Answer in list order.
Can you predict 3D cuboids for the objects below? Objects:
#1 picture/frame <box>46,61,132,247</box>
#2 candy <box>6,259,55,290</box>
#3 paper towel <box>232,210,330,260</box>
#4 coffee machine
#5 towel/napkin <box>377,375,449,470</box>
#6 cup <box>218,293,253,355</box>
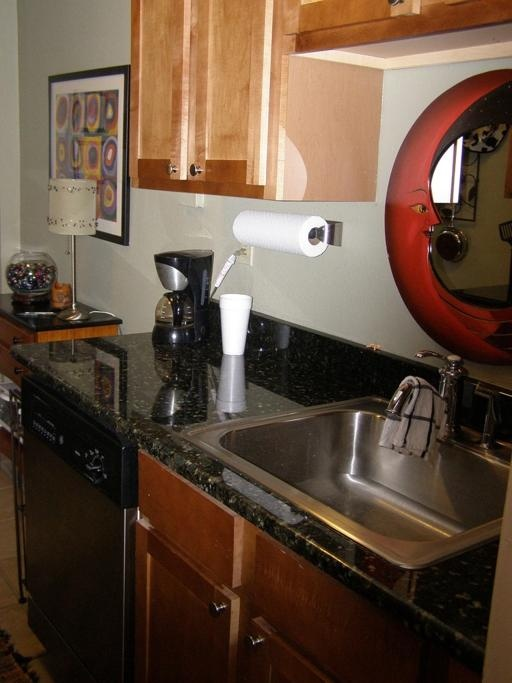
[{"bbox_3d":[-0.784,-0.902,2.610,0.034,0.876,0.868,-7,18,-34],"label":"picture/frame"},{"bbox_3d":[-1.085,-0.316,2.630,0.163,0.123,0.169,1,7,-16],"label":"candy"},{"bbox_3d":[0.060,-0.303,1.516,0.112,0.119,0.269,-30,32,-33],"label":"paper towel"},{"bbox_3d":[-0.246,-0.150,1.812,0.188,0.290,0.167,1,15,-10],"label":"coffee machine"},{"bbox_3d":[0.265,0.121,0.920,0.090,0.128,0.073,18,-9,-13],"label":"towel/napkin"},{"bbox_3d":[-0.063,-0.047,1.669,0.089,0.191,0.149,0,10,-2],"label":"cup"}]
